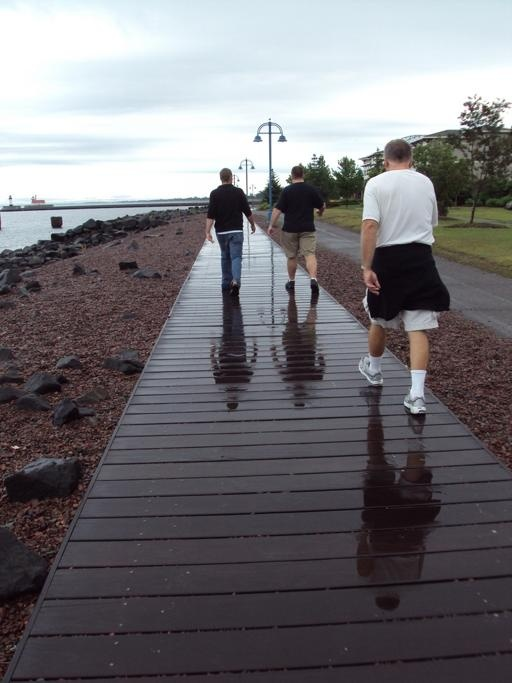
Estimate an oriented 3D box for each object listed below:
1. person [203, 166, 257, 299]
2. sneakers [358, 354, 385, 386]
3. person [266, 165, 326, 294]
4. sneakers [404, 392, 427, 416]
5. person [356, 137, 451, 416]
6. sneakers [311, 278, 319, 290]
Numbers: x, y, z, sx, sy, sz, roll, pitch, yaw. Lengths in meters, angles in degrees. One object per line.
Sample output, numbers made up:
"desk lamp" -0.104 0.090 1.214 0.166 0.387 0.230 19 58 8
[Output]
"person" -0.362 -1.501 7.744 0.663 1.790 1.100 -2 14 -1
"sneakers" 0.888 0.227 4.184 0.109 0.113 0.294 -2 24 -2
"person" 0.567 -1.510 7.621 0.722 1.776 0.767 0 14 4
"sneakers" 1.039 0.415 3.534 0.074 0.086 0.191 -1 14 2
"person" 0.990 -0.439 3.615 0.600 1.750 0.622 6 16 28
"sneakers" 0.832 -0.805 7.817 0.073 0.208 0.084 -1 42 7
